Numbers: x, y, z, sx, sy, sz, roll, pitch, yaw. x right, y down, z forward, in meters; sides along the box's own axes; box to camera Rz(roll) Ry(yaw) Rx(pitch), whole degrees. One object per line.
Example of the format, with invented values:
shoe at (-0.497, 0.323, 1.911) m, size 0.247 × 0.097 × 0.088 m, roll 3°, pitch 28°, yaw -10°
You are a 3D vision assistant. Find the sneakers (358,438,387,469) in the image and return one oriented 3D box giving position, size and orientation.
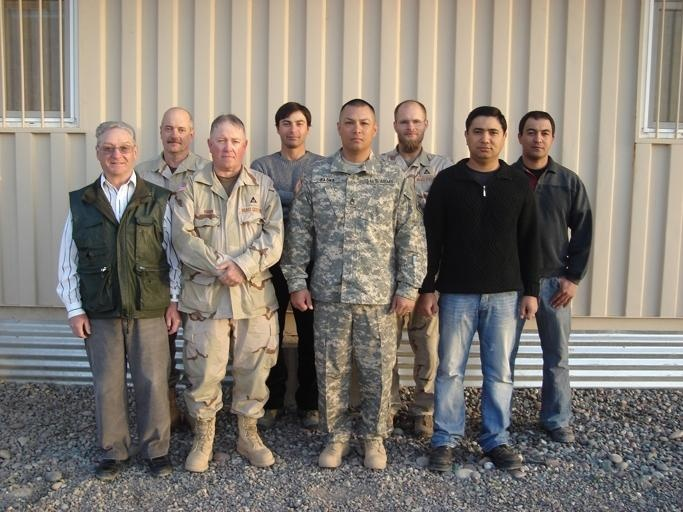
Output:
sneakers at (0.231, 1.317, 5.580) m, size 0.151 × 0.168 × 0.438 m, roll 5°, pitch 3°, yaw 1°

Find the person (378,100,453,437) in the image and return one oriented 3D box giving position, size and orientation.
person at (0.512, 0.045, 6.248) m, size 0.629 × 2.352 × 0.593 m, roll 3°, pitch 24°, yaw 7°

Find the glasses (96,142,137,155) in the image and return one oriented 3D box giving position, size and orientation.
glasses at (-1.460, -0.699, 5.367) m, size 0.236 × 0.073 × 0.075 m, roll -4°, pitch 9°, yaw -18°

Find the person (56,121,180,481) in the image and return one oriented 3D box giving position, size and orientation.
person at (-1.435, 0.279, 5.375) m, size 0.771 × 2.275 × 0.438 m, roll -3°, pitch 8°, yaw -14°

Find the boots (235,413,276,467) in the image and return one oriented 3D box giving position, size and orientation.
boots at (-0.583, 1.232, 5.553) m, size 0.147 × 0.274 × 0.341 m, roll -11°, pitch 20°, yaw -40°

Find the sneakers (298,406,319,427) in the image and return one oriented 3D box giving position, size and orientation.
sneakers at (-0.232, 1.179, 6.017) m, size 0.111 × 0.135 × 0.147 m, roll -1°, pitch -6°, yaw 1°

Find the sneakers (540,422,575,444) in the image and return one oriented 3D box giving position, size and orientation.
sneakers at (1.522, 1.248, 5.817) m, size 0.087 × 0.099 × 0.217 m, roll -9°, pitch 9°, yaw -30°

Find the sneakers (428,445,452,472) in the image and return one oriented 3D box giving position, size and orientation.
sneakers at (0.662, 1.350, 5.496) m, size 0.174 × 0.139 × 0.159 m, roll 0°, pitch 9°, yaw 4°

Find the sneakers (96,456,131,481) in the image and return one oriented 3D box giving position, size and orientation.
sneakers at (-1.491, 1.388, 5.404) m, size 0.226 × 0.113 × 0.143 m, roll -5°, pitch 10°, yaw -22°

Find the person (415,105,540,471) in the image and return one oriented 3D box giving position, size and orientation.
person at (0.917, 0.209, 5.491) m, size 0.800 × 2.374 × 0.515 m, roll 0°, pitch 8°, yaw 6°

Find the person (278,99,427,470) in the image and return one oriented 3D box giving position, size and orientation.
person at (0.085, 0.180, 5.518) m, size 0.966 × 2.423 × 0.487 m, roll 0°, pitch 8°, yaw 5°

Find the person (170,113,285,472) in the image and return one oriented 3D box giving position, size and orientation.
person at (-0.742, 0.235, 5.487) m, size 0.725 × 2.320 × 0.417 m, roll -2°, pitch 8°, yaw -8°

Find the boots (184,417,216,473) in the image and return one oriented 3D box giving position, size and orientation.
boots at (-0.939, 1.256, 5.516) m, size 0.146 × 0.279 × 0.447 m, roll 7°, pitch 6°, yaw 0°
